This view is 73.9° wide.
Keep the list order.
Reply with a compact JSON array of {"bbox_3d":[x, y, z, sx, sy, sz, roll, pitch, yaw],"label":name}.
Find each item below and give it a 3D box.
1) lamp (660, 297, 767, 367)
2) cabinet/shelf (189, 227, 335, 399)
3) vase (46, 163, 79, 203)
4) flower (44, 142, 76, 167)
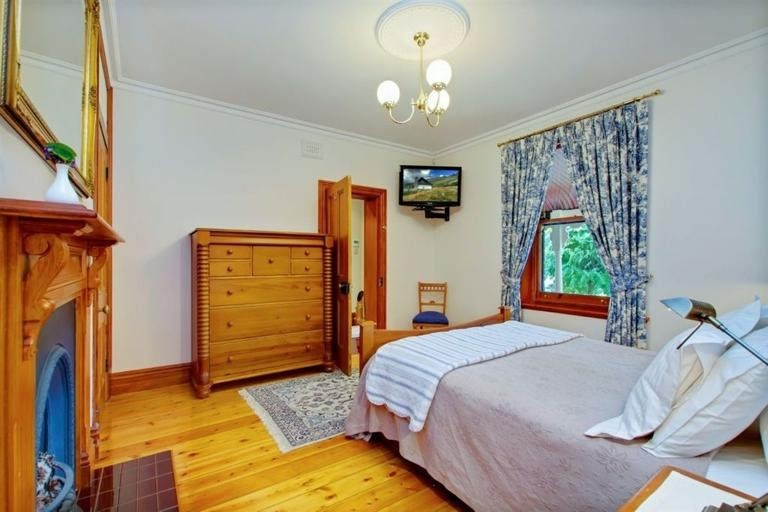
[{"bbox_3d":[2.142,0.483,3.270,0.292,0.202,0.653,-13,28,-13],"label":"lamp"},{"bbox_3d":[-1.320,0.605,5.274,1.597,1.756,0.777,-1,3,-34],"label":"cabinet/shelf"},{"bbox_3d":[-1.865,-0.426,3.019,0.185,0.246,0.179,0,2,8],"label":"vase"},{"bbox_3d":[-1.950,-0.620,3.079,0.131,0.095,0.162,50,-11,-28],"label":"flower"}]
